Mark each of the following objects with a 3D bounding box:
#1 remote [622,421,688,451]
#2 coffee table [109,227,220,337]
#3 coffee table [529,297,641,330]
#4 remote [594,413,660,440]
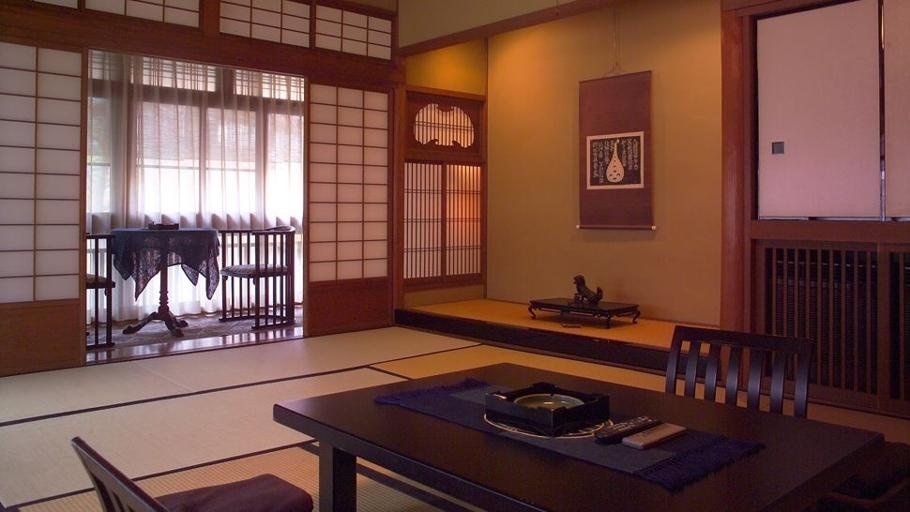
[{"bbox_3d":[1.044,0.911,3.313,0.296,0.027,0.128,-7,10,-34],"label":"remote"},{"bbox_3d":[-3.629,0.311,7.857,1.353,1.171,1.343,2,2,-36],"label":"coffee table"},{"bbox_3d":[1.526,0.642,7.610,1.247,0.303,0.733,7,14,34],"label":"coffee table"},{"bbox_3d":[0.896,0.903,3.337,0.361,0.035,0.125,-8,10,-31],"label":"remote"}]
